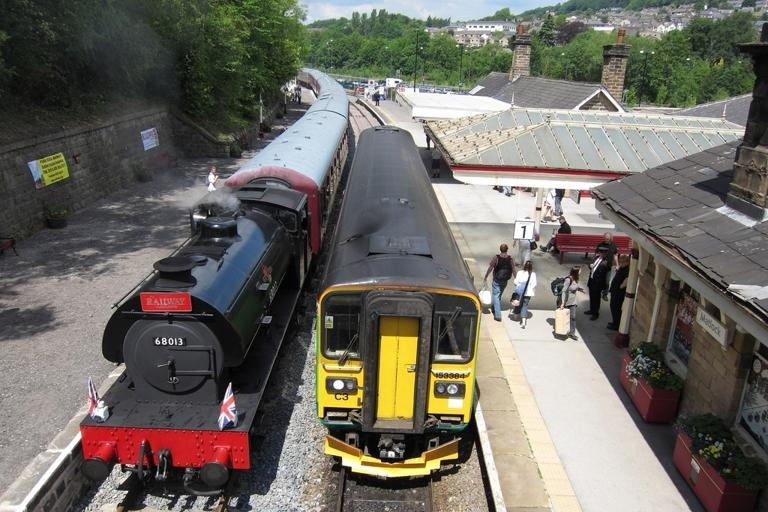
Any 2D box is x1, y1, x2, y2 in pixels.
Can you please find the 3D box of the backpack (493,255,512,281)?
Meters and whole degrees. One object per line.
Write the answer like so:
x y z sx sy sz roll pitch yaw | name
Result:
3.271 0.315 13.810 0.609 0.832 0.447 -1 24 -1 | backpack

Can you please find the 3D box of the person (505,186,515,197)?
6.786 -3.647 26.986 0.566 0.490 1.401 6 26 12 | person

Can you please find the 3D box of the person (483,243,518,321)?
3.295 0.713 14.139 0.937 2.276 0.931 8 24 32 | person

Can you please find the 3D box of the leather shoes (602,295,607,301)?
7.081 1.360 15.942 0.098 0.133 0.320 -5 5 12 | leather shoes

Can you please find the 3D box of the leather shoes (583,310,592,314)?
6.161 1.713 15.105 0.224 0.148 0.075 4 29 10 | leather shoes

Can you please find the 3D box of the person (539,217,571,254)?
6.479 -0.819 18.824 0.767 1.591 1.274 2 26 3 | person

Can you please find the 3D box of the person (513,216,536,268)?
4.717 -0.593 16.889 0.877 2.296 0.619 -1 35 7 | person

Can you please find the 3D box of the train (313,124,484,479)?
0.211 -0.435 13.395 2.225 3.434 10.806 0 24 1 | train

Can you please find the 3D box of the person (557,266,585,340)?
5.274 1.419 14.069 0.787 2.215 0.923 -2 36 9 | person

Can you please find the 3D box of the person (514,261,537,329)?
3.972 0.987 14.269 0.570 2.014 1.041 8 27 16 | person

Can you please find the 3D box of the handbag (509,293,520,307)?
3.800 1.283 14.338 0.160 0.405 0.289 12 -10 -32 | handbag
